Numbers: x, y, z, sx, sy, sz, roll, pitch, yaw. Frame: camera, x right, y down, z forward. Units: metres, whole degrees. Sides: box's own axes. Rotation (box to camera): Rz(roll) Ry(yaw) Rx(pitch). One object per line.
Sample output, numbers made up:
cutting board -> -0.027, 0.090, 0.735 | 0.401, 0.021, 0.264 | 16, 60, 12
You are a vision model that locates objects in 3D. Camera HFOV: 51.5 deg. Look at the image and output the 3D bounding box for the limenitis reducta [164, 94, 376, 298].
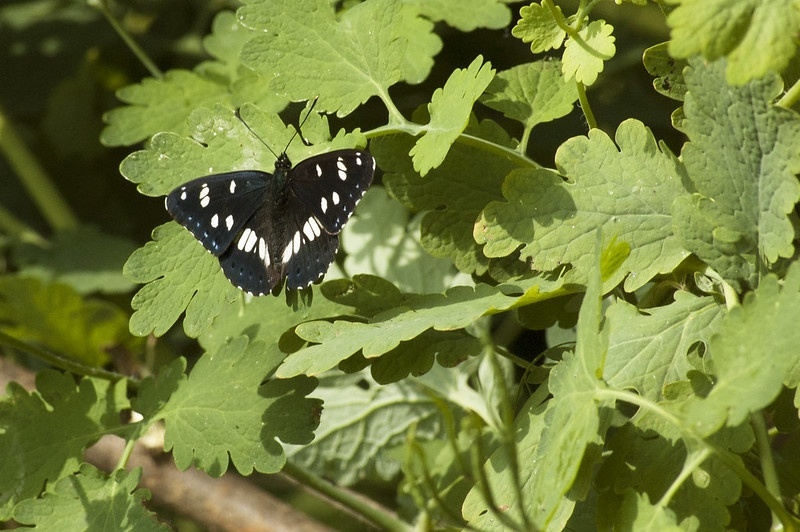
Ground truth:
limenitis reducta -> -0.212, -0.179, 1.388 | 0.338, 0.343, 0.098 | -5, 17, -2
